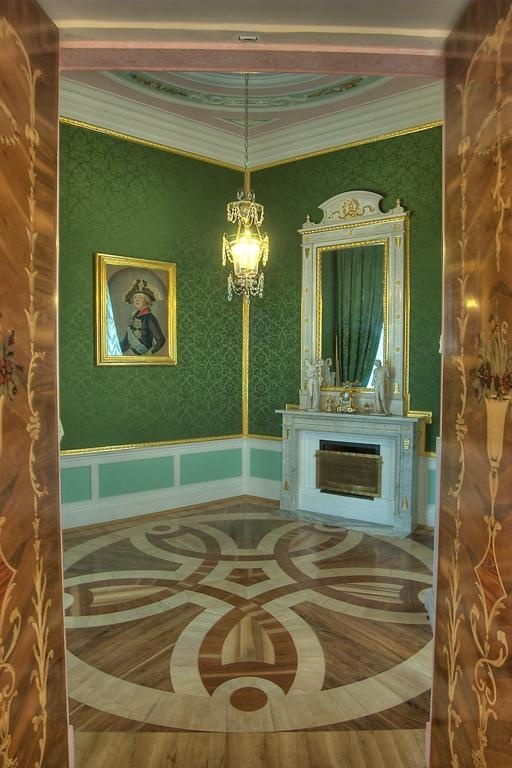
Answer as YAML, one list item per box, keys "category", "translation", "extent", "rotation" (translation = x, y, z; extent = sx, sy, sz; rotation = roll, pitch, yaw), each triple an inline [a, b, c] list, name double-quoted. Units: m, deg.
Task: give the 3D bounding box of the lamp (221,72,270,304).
- category: "lamp"
  translation: [-0.068, -1.861, 5.833]
  extent: [0.560, 2.174, 2.139]
  rotation: [0, 0, -3]
